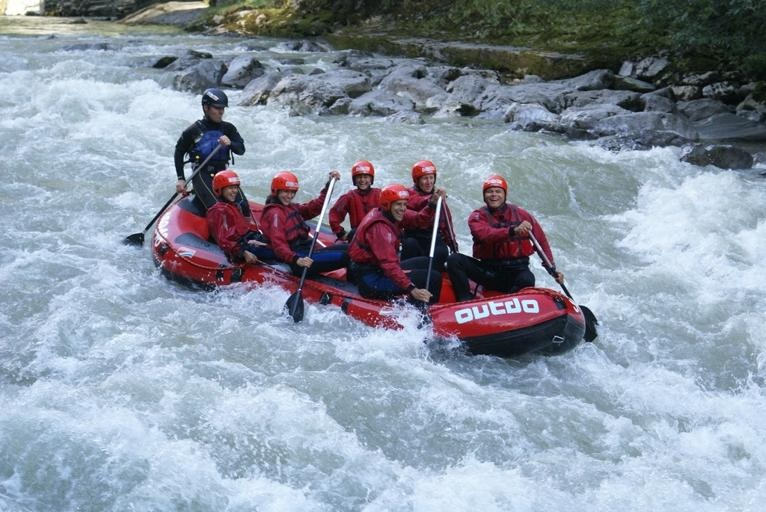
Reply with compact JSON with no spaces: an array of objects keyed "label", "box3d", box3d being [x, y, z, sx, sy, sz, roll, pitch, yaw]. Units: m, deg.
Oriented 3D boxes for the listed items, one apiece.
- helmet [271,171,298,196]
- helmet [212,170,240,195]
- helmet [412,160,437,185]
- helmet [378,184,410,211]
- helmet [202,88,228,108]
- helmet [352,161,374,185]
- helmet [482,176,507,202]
[{"label":"helmet","box3d":[-1.685,-1.238,12.887,0.460,0.312,0.386,21,19,40]},{"label":"helmet","box3d":[-2.758,-1.315,13.188,0.529,0.347,0.361,4,10,29]},{"label":"helmet","box3d":[0.759,-1.488,13.314,0.417,0.384,0.463,-4,4,-27]},{"label":"helmet","box3d":[0.170,-0.931,12.001,0.474,0.313,0.387,3,12,17]},{"label":"helmet","box3d":[-3.156,-2.859,13.687,0.569,0.228,0.345,6,18,21]},{"label":"helmet","box3d":[-0.357,-1.473,13.311,0.455,0.377,0.515,2,18,-3]},{"label":"helmet","box3d":[1.919,-1.142,12.547,0.408,0.381,0.469,3,-7,-4]}]
